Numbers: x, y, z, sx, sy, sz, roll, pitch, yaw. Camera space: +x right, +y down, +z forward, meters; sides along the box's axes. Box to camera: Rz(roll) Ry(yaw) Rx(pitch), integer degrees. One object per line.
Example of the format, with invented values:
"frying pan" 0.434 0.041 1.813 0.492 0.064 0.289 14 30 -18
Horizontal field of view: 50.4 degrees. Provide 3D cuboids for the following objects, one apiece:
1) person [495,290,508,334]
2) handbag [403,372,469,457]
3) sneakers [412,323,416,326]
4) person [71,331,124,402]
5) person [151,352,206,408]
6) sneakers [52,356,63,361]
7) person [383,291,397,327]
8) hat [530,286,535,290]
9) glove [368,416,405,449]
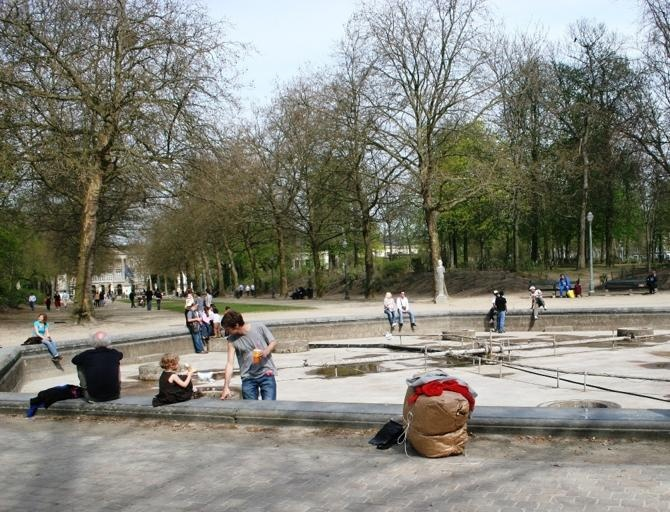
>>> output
"person" 5.676 1.955 24.557 0.347 1.443 0.706 -2 1 12
"handbag" 1.351 2.110 9.336 0.911 1.052 0.418 -2 1 7
"sneakers" 2.914 2.589 26.455 0.124 0.052 0.078 9 7 8
"person" -3.882 1.847 11.881 1.011 1.338 0.991 0 12 -14
"person" -2.567 1.937 11.504 0.581 0.784 0.837 6 12 38
"sneakers" -7.054 2.642 18.177 0.086 0.143 0.356 -2 0 7
"person" 1.996 2.075 25.655 0.429 1.423 0.821 -2 1 5
"hat" 7.789 1.291 28.215 0.250 0.085 0.256 -2 3 9
"glove" 0.699 2.425 9.661 0.428 0.115 0.317 -38 39 -8
